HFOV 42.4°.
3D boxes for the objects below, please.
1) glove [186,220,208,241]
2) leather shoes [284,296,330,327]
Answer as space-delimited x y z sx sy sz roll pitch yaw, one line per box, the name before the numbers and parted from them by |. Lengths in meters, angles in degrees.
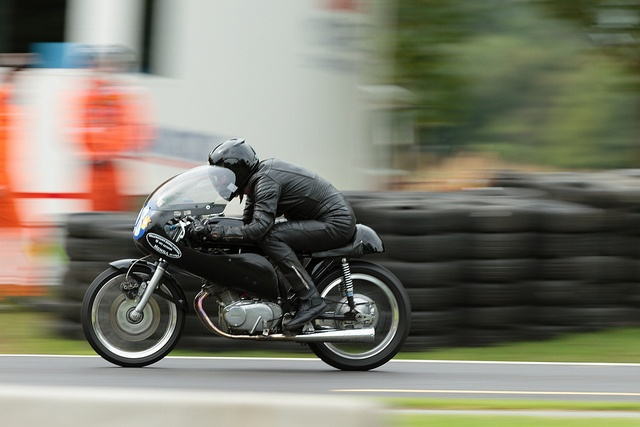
glove | -1.284 0.168 8.565 0.193 0.200 0.153 1 11 -19
leather shoes | -0.115 1.014 8.633 0.642 0.210 0.195 -21 -1 8
